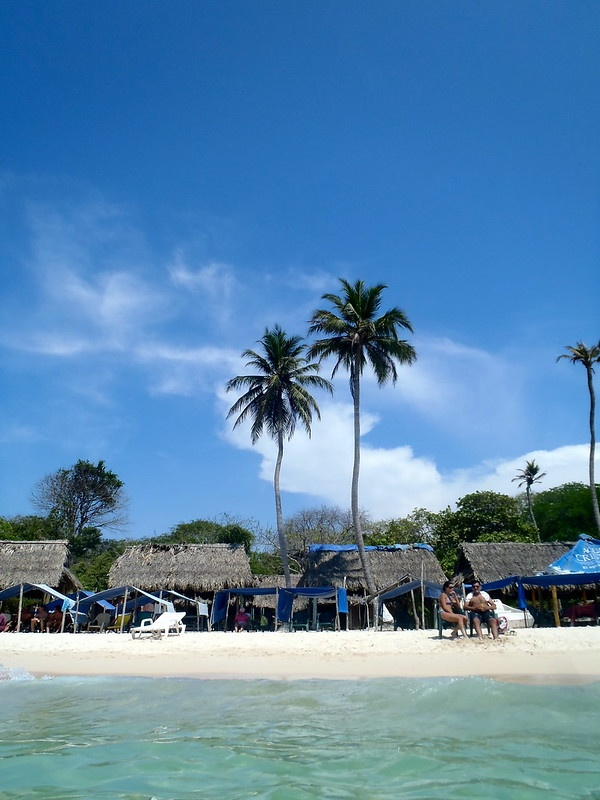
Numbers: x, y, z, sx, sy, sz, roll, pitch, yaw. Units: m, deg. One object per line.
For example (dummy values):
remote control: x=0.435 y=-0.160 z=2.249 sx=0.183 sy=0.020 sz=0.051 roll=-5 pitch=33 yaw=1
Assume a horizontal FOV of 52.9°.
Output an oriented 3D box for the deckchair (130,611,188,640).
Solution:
deckchair: x=-3.887 y=6.195 z=16.550 sx=1.044 sy=0.610 sz=1.757 roll=-7 pitch=-19 yaw=17
